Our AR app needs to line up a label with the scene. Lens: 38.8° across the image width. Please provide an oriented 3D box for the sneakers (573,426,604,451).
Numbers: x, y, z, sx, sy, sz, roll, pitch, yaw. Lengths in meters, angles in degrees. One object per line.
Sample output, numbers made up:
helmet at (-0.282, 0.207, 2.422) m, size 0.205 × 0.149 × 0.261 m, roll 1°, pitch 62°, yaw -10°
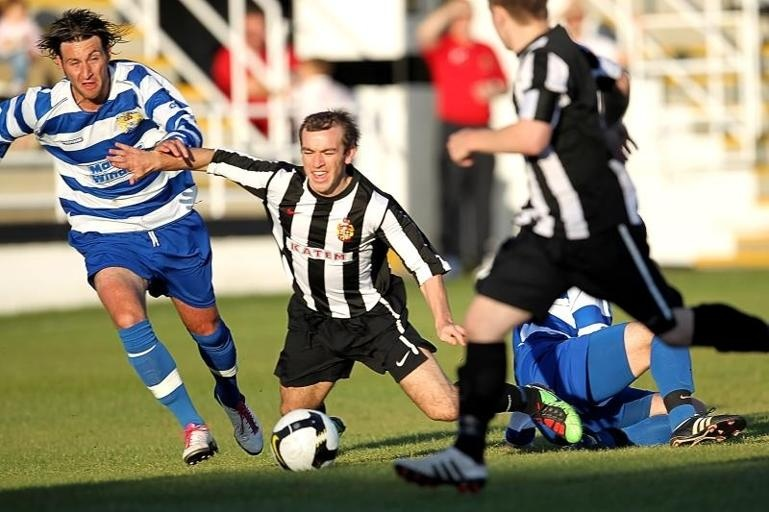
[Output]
sneakers at (1.340, 1.184, 7.126) m, size 0.191 × 0.187 × 0.073 m, roll 1°, pitch 2°, yaw 9°

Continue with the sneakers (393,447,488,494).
sneakers at (0.323, 1.206, 6.103) m, size 0.571 × 0.203 × 0.260 m, roll 10°, pitch 48°, yaw 6°

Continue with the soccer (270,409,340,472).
soccer at (-0.530, 1.220, 7.030) m, size 0.382 × 0.357 × 0.444 m, roll 5°, pitch 21°, yaw 25°

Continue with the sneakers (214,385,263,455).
sneakers at (-0.996, 1.104, 7.680) m, size 0.200 × 0.543 × 0.228 m, roll -33°, pitch -4°, yaw -30°

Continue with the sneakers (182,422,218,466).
sneakers at (-1.209, 1.255, 7.175) m, size 0.223 × 0.261 × 0.269 m, roll -8°, pitch 19°, yaw -10°
